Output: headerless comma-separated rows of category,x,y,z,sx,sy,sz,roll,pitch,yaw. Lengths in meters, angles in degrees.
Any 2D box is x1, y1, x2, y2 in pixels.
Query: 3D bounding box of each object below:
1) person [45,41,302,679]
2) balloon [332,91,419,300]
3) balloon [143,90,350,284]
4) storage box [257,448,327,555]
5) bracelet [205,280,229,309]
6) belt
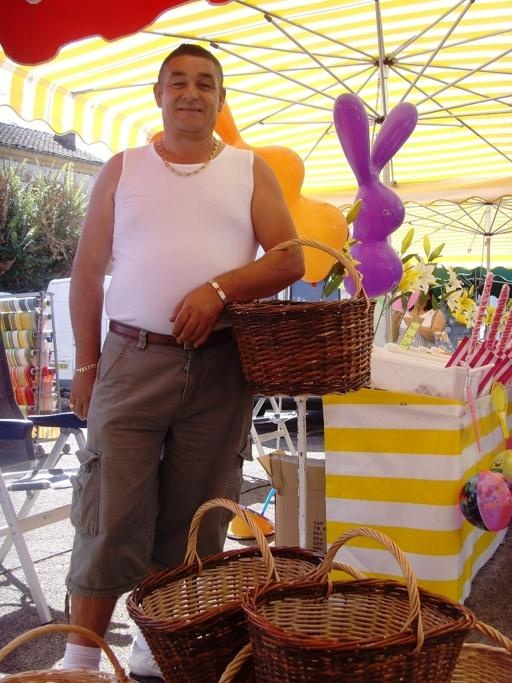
person,-0.261,0.028,1.707,0.676,1.670,0.778,2,12,-24
balloon,0.439,-0.546,2.273,0.318,0.814,0.268,-1,14,6
balloon,-0.008,-0.613,2.298,0.566,1.005,0.416,14,50,38
storage box,0.157,0.627,2.327,0.289,0.360,0.283,4,9,12
bracelet,-0.092,-0.119,1.484,0.016,0.054,0.058,-27,38,-23
belt,-0.237,-0.038,1.588,0.235,0.081,0.250,4,7,31
